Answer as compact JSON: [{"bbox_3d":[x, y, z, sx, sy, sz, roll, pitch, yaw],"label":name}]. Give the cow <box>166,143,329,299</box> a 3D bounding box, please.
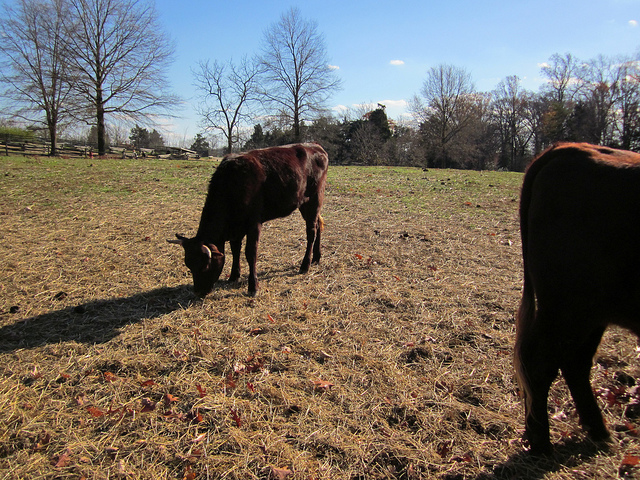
[{"bbox_3d":[-0.873,-0.346,6.743,0.922,1.996,2.565,10,15,33],"label":"cow"}]
